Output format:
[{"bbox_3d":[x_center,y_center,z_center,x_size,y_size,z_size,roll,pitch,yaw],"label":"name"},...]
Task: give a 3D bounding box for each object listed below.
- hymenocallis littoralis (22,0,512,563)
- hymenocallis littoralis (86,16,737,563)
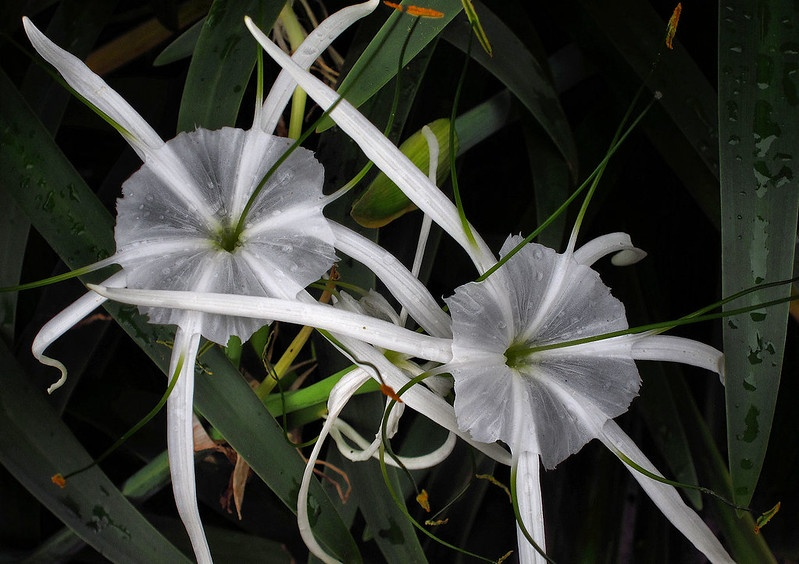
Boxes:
[{"bbox_3d":[-0.214,-0.032,0.926,0.448,0.547,0.269,22,-8,-11],"label":"hymenocallis littoralis"},{"bbox_3d":[0.018,0.057,0.829,0.500,0.625,0.240,9,-1,-16],"label":"hymenocallis littoralis"}]
